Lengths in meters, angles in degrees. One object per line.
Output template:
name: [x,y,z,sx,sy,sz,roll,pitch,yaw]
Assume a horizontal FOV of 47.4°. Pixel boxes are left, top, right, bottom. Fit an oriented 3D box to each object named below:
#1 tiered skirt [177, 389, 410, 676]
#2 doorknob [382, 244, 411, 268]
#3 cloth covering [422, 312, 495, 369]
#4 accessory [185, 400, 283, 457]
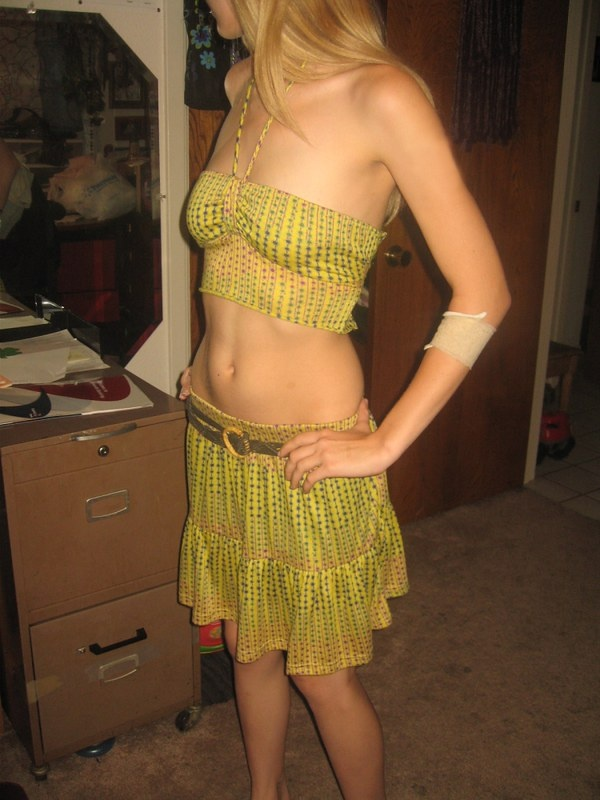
tiered skirt: [-0.033,0.185,1.039,0.331,0.316,0.269,11,10,19]
doorknob: [0.275,-0.409,1.985,0.065,0.065,0.059,32,46,-34]
cloth covering: [0.180,-0.071,0.824,0.061,0.061,0.071,32,2,-3]
accessory: [-0.096,0.044,0.963,0.119,0.031,0.068,26,7,15]
